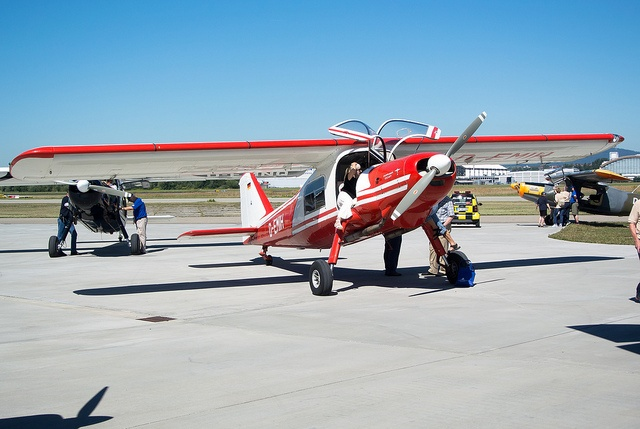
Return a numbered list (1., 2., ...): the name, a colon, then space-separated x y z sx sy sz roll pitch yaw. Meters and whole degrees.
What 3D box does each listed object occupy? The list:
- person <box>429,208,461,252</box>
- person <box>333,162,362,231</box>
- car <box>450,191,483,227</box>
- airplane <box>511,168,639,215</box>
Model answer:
1. person: 2.626 0.313 10.142 0.573 0.968 1.675 1 1 20
2. person: 0.596 -0.354 9.827 0.502 1.354 0.618 1 1 6
3. car: 7.489 -0.191 23.647 2.123 1.373 2.883 0 7 10
4. airplane: 14.047 -1.106 25.025 5.070 1.560 4.949 3 -3 -7
